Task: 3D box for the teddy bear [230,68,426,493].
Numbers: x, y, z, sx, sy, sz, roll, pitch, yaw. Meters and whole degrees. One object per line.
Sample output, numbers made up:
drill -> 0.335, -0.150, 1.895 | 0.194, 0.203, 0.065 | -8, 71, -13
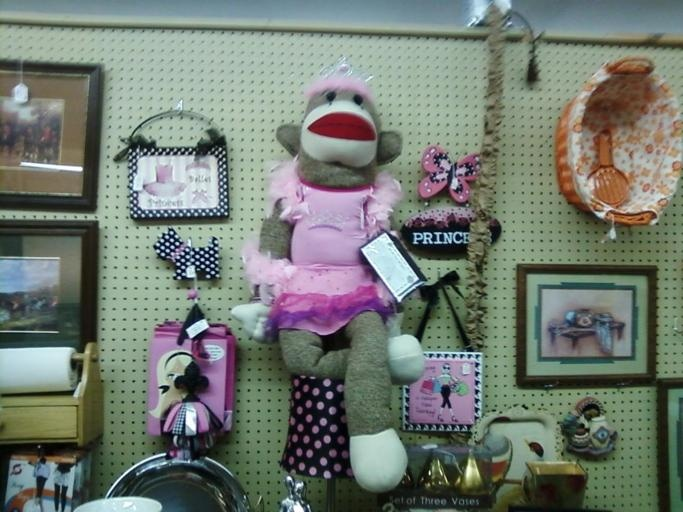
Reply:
teddy bear -> -0.010, 0.032, 2.387 | 0.541, 1.218, 0.286 | 1, -3, 22
